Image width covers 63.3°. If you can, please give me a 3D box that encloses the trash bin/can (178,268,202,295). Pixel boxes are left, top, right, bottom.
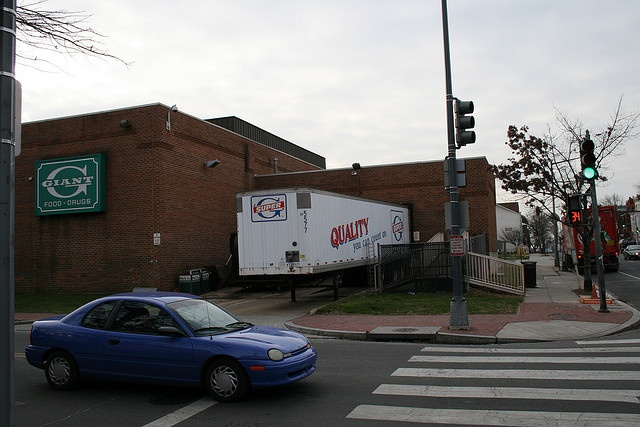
[{"bbox_3d":[-6.940,3.719,27.962,0.879,1.234,1.427,2,2,33],"label":"trash bin/can"}]

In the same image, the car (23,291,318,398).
[{"bbox_3d":[-2.863,2.542,10.254,4.933,1.436,2.143,-2,-6,17],"label":"car"}]

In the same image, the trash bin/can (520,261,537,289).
[{"bbox_3d":[10.296,3.013,25.560,0.529,1.193,0.708,1,2,11],"label":"trash bin/can"}]

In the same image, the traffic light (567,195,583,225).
[{"bbox_3d":[8.665,-0.125,17.708,0.347,1.001,0.531,2,2,33],"label":"traffic light"}]

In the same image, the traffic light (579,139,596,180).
[{"bbox_3d":[8.448,-1.713,16.409,0.490,1.263,0.794,2,2,26],"label":"traffic light"}]

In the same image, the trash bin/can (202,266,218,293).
[{"bbox_3d":[-6.210,3.719,29.793,0.751,1.340,1.373,1,2,2],"label":"trash bin/can"}]

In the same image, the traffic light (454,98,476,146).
[{"bbox_3d":[4.071,-2.593,14.695,0.564,1.440,0.953,1,2,13],"label":"traffic light"}]
